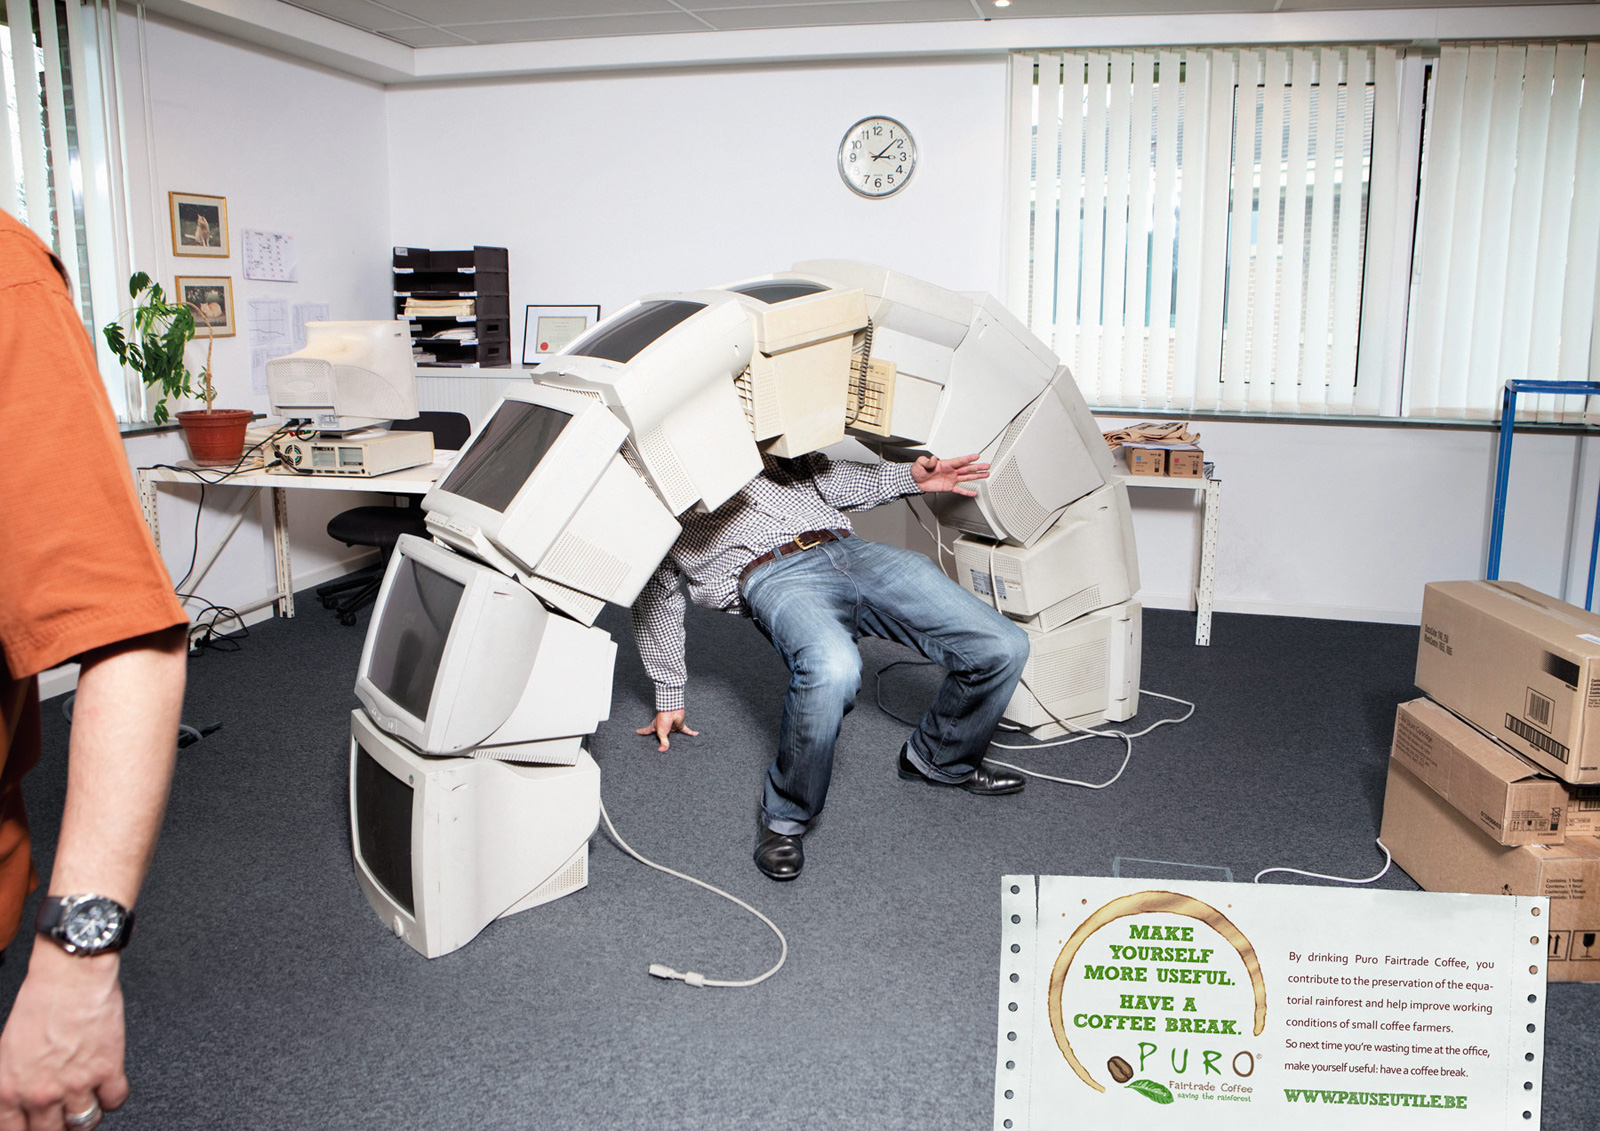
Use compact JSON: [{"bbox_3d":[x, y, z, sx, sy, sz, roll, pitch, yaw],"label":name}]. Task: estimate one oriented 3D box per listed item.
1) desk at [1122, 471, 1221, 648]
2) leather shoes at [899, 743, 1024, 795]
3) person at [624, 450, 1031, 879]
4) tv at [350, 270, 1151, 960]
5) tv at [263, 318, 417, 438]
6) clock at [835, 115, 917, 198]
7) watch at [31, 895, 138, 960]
[{"bbox_3d":[1.643,-0.117,4.831,0.390,0.686,0.526,14,-5,14],"label":"desk"},{"bbox_3d":[0.472,0.611,3.318,0.380,0.158,0.145,0,7,2],"label":"leather shoes"},{"bbox_3d":[0.047,0.181,3.380,0.963,1.494,1.186,-11,13,-36],"label":"person"},{"bbox_3d":[-0.124,-0.253,3.689,2.988,1.827,1.142,-19,21,-41],"label":"tv"},{"bbox_3d":[-1.717,-0.686,4.008,0.528,0.391,0.289,4,14,16],"label":"tv"},{"bbox_3d":[0.371,-1.934,5.137,0.364,0.371,0.049,3,7,20],"label":"clock"},{"bbox_3d":[-0.715,0.360,1.096,0.082,0.066,0.027,15,-9,-32],"label":"watch"}]
